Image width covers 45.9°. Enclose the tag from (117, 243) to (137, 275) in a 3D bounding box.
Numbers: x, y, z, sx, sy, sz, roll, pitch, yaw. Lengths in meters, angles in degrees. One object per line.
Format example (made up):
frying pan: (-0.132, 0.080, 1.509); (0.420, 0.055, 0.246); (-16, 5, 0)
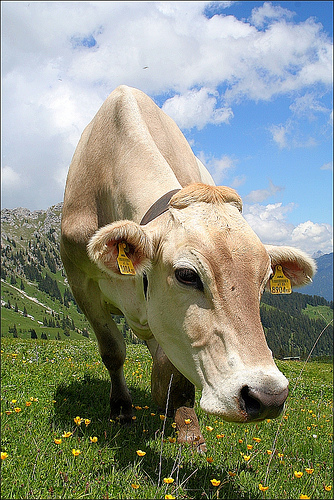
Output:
tag: (-0.331, 0.079, 3.214); (0.081, 0.264, 0.224); (-3, -2, 22)
